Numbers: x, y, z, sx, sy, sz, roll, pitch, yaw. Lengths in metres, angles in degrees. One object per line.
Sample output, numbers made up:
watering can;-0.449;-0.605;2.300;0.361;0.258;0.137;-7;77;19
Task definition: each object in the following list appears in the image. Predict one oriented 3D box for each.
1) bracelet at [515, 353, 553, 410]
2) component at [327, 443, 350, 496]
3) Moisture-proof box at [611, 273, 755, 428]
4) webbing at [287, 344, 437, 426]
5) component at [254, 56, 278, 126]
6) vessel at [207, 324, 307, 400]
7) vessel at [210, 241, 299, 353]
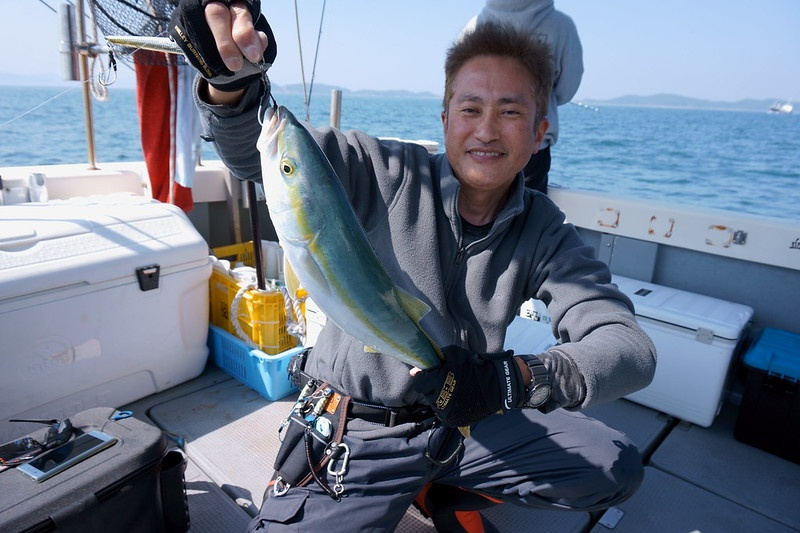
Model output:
bracelet;0.601;0.529;2.116;0.125;0.210;0.192;-1;19;-9
component;-0.329;1.070;2.483;0.142;0.245;0.059;1;-21;-4
Moisture-proof box;2.152;0.672;3.499;0.980;0.695;0.570;21;32;39
webbing;-0.256;0.720;2.633;0.585;0.143;0.442;13;22;15
component;-0.620;-0.770;2.205;0.085;0.244;0.033;13;43;9
vessel;-1.228;0.784;4.031;0.852;0.307;0.547;21;21;34
vessel;-1.352;0.278;4.151;1.056;0.460;0.728;22;26;40
